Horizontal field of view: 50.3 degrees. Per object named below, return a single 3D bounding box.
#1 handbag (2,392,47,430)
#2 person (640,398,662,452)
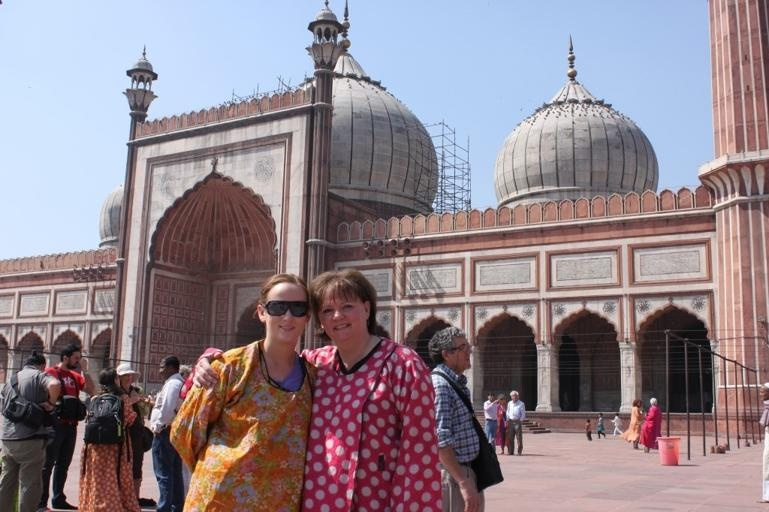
[{"bbox_3d":[-3.629,1.595,8.296,0.288,0.150,0.380,5,-43,31],"label":"handbag"},{"bbox_3d":[4.800,3.061,14.785,0.358,0.939,1.507,-3,-11,17],"label":"person"}]
